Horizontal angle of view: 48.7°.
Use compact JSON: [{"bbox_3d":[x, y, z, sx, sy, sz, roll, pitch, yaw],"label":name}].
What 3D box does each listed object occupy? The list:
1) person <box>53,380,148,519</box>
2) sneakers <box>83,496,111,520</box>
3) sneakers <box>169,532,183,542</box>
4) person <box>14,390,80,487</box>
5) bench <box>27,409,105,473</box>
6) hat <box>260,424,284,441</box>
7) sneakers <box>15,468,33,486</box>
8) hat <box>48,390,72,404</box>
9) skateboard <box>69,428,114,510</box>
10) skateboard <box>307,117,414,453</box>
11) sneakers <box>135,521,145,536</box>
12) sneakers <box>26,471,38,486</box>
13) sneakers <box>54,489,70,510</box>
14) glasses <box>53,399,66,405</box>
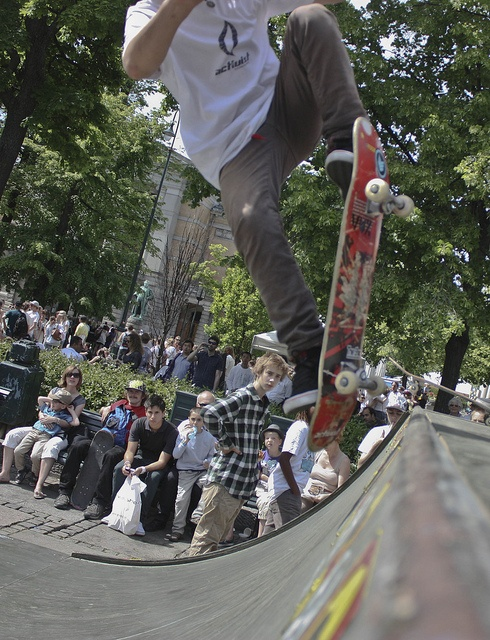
[{"bbox_3d":[-1.552,1.440,6.404,0.626,1.859,0.290,10,-25,22],"label":"person"},{"bbox_3d":[-1.611,2.051,5.948,0.217,0.176,0.344,14,-8,4],"label":"sneakers"},{"bbox_3d":[-0.742,2.318,5.843,0.148,0.062,0.164,15,-8,-10],"label":"sneakers"},{"bbox_3d":[-2.379,1.373,6.421,0.620,1.110,0.617,4,-15,16],"label":"person"},{"bbox_3d":[-2.098,1.419,6.381,0.723,0.496,0.327,51,3,-30],"label":"bench"},{"bbox_3d":[0.242,1.069,5.331,0.251,0.104,0.266,-4,-51,13],"label":"hat"},{"bbox_3d":[-2.572,1.860,6.461,0.137,0.164,0.395,7,-16,11],"label":"sneakers"},{"bbox_3d":[-2.221,0.924,6.528,0.218,0.107,0.156,27,-2,-22],"label":"hat"},{"bbox_3d":[-1.729,1.682,6.264,0.278,1.082,0.181,19,-16,7],"label":"skateboard"},{"bbox_3d":[0.342,-0.115,1.770,0.179,1.151,0.334,8,-6,32],"label":"skateboard"},{"bbox_3d":[-1.105,2.206,5.777,0.098,0.108,0.230,15,-8,-2],"label":"sneakers"},{"bbox_3d":[-2.541,1.899,6.474,0.098,0.111,0.275,4,-16,-8],"label":"sneakers"},{"bbox_3d":[-1.998,1.971,5.990,0.162,0.157,0.272,17,-8,-11],"label":"sneakers"},{"bbox_3d":[-2.207,0.970,6.494,0.085,0.034,0.061,24,8,-19],"label":"glasses"}]
